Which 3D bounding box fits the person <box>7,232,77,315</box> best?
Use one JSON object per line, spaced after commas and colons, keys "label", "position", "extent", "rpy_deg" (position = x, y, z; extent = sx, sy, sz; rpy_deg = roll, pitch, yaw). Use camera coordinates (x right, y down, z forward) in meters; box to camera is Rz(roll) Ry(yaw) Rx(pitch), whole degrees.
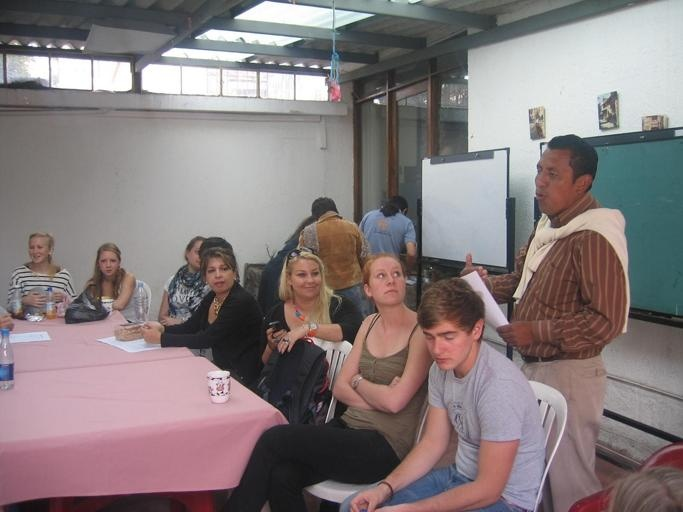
{"label": "person", "position": [-2.538, 0.123, 4.287], "extent": [0.482, 0.601, 0.796], "rpy_deg": [-8, 12, -29]}

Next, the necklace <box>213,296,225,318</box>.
{"label": "necklace", "position": [-0.864, 0.333, 3.594], "extent": [0.043, 0.137, 0.103], "rpy_deg": [3, 50, -29]}

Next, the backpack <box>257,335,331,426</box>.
{"label": "backpack", "position": [-0.247, 0.666, 2.710], "extent": [0.361, 0.394, 0.204], "rpy_deg": [12, -1, 44]}

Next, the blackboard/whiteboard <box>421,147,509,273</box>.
{"label": "blackboard/whiteboard", "position": [1.217, -0.453, 4.976], "extent": [0.182, 1.174, 1.166], "rpy_deg": [-2, 3, -29]}

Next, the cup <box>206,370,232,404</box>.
{"label": "cup", "position": [-0.549, 0.581, 2.297], "extent": [0.098, 0.134, 0.131], "rpy_deg": [-1, -6, -7]}

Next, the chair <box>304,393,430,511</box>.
{"label": "chair", "position": [0.099, 0.893, 2.364], "extent": [0.450, 0.487, 0.443], "rpy_deg": [7, -6, -17]}

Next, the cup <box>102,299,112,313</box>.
{"label": "cup", "position": [-1.860, 0.401, 4.078], "extent": [0.067, 0.123, 0.176], "rpy_deg": [-7, 11, -24]}
